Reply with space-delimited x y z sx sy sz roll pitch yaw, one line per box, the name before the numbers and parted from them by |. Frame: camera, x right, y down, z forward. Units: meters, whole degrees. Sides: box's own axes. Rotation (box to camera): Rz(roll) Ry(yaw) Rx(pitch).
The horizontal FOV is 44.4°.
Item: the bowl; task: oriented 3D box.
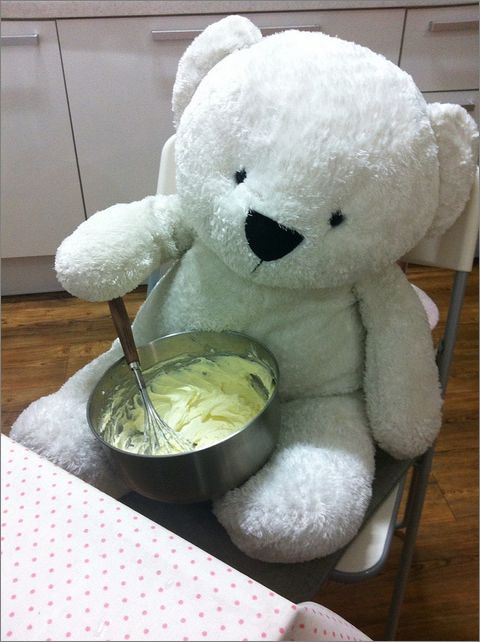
bowl | -0.038 0.095 0.537 0.180 0.078 0.173 -9 32 6
